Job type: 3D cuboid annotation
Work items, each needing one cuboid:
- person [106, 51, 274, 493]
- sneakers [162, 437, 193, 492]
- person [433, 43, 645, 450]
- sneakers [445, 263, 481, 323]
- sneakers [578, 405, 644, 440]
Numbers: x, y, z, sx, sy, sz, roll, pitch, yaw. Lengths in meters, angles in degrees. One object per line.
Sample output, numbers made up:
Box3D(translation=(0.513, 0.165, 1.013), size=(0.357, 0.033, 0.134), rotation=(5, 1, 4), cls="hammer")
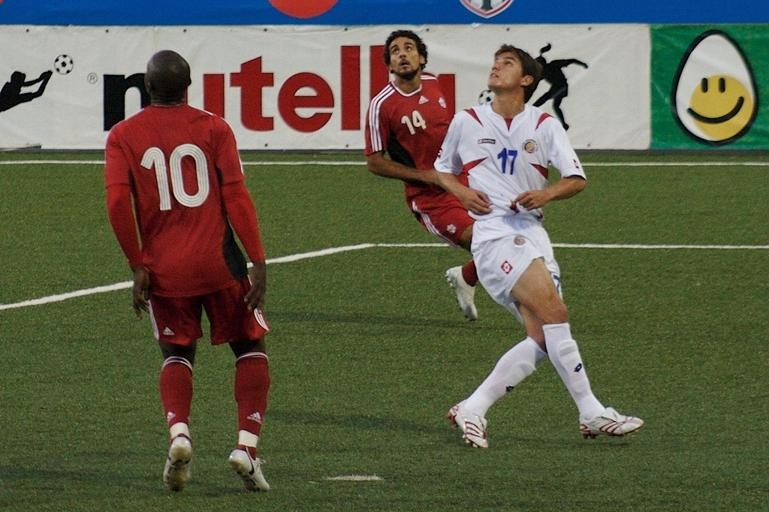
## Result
Box3D(translation=(-1.519, 0.107, 10.752), size=(1.357, 3.279, 0.903), rotation=(4, 12, 9), cls="person")
Box3D(translation=(-1.556, 1.580, 10.621), size=(0.169, 0.451, 0.218), rotation=(7, 17, -8), cls="sneakers")
Box3D(translation=(1.147, -0.092, 11.228), size=(1.370, 3.104, 1.182), rotation=(0, 12, -6), cls="person")
Box3D(translation=(0.660, 0.330, 12.865), size=(0.206, 0.590, 0.275), rotation=(-25, 3, -38), cls="sneakers")
Box3D(translation=(1.796, 1.336, 11.147), size=(0.551, 0.269, 0.210), rotation=(-4, 2, 5), cls="sneakers")
